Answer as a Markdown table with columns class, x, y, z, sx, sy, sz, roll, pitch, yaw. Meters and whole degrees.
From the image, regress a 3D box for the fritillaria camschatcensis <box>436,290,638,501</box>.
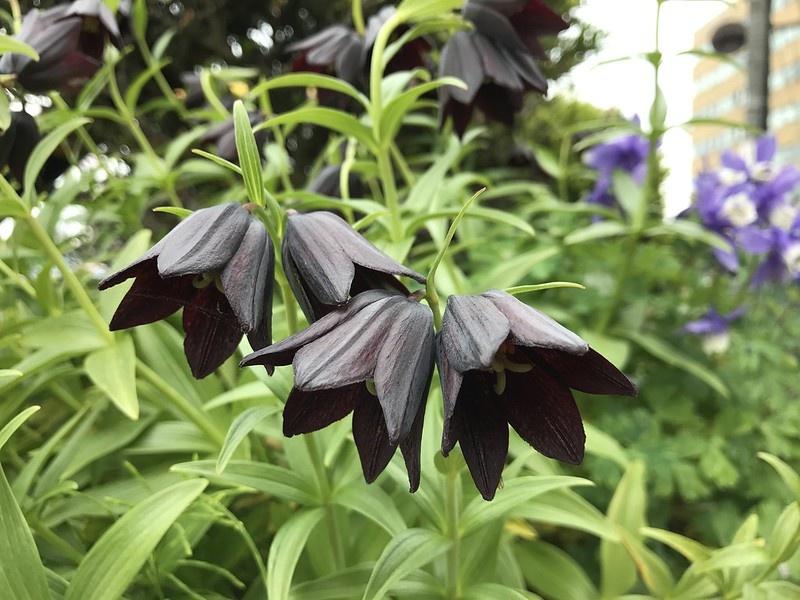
| class | x | y | z | sx | sy | sz | roll | pitch | yaw |
| --- | --- | --- | --- | --- | --- | --- | --- | --- | --- |
| fritillaria camschatcensis | 0.160 | 0.121 | 0.907 | 0.216 | 0.266 | 0.168 | 13 | -14 | -32 |

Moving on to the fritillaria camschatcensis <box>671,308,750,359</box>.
| class | x | y | z | sx | sy | sz | roll | pitch | yaw |
| --- | --- | --- | --- | --- | --- | --- | --- | --- | --- |
| fritillaria camschatcensis | 0.511 | 0.054 | 1.183 | 0.044 | 0.086 | 0.114 | 7 | -12 | -10 |

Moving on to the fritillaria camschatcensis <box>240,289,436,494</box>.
| class | x | y | z | sx | sy | sz | roll | pitch | yaw |
| --- | --- | --- | --- | --- | --- | --- | --- | --- | --- |
| fritillaria camschatcensis | -0.077 | 0.106 | 0.929 | 0.240 | 0.253 | 0.129 | 5 | -12 | 3 |
